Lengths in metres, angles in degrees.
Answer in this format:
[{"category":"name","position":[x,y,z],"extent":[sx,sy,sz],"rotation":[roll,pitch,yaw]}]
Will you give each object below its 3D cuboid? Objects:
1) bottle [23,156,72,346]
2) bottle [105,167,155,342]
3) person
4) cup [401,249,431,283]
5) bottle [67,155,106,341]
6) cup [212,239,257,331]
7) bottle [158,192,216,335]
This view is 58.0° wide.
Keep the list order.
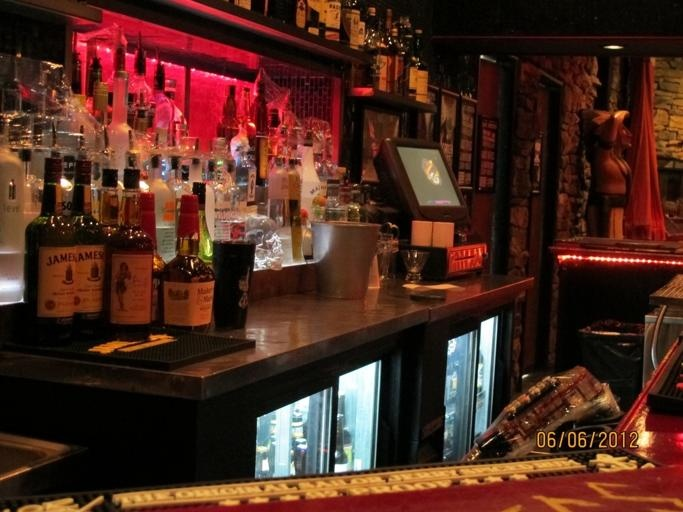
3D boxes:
[{"category":"bottle","position":[-0.658,-0.010,1.394],"extent":[0.095,0.317,0.062],"rotation":[-1,1,24]},{"category":"bottle","position":[-0.499,-0.004,1.461],"extent":[0.102,0.273,0.047],"rotation":[-2,1,-17]},{"category":"person","position":[2.802,-0.847,6.483],"extent":[0.432,1.307,0.796],"rotation":[-1,1,24]},{"category":"cup","position":[0.338,0.044,2.803],"extent":[0.140,0.143,0.135],"rotation":[3,-2,0]},{"category":"bottle","position":[-0.593,-0.014,1.439],"extent":[0.076,0.301,0.076],"rotation":[-2,1,0]},{"category":"cup","position":[-0.305,0.081,1.742],"extent":[0.118,0.246,0.123],"rotation":[-1,1,0]},{"category":"bottle","position":[-0.384,0.019,1.546],"extent":[0.124,0.344,0.064],"rotation":[-2,1,-16]}]
